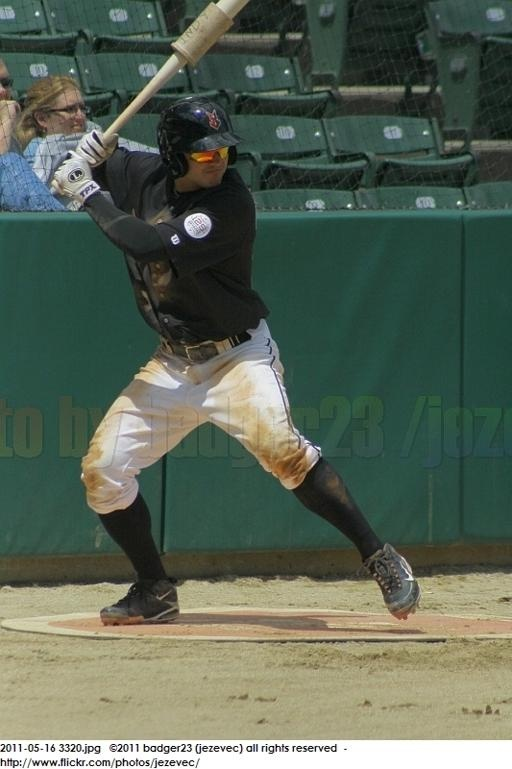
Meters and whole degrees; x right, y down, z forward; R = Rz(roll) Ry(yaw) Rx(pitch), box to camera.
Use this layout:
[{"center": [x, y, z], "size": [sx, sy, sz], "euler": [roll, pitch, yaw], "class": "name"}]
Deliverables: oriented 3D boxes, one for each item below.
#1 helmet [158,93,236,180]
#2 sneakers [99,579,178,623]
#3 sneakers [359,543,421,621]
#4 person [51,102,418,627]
[{"center": [-0.160, -0.733, 2.774], "size": [0.205, 0.210, 0.279], "euler": [-29, 39, -31], "class": "helmet"}, {"center": [-0.416, 0.700, 3.013], "size": [0.302, 0.120, 0.101], "euler": [5, -18, -30], "class": "sneakers"}, {"center": [0.377, 0.570, 2.860], "size": [0.100, 0.149, 0.292], "euler": [-47, 16, 8], "class": "sneakers"}, {"center": [-0.161, -0.036, 2.864], "size": [0.972, 1.592, 0.654], "euler": [-10, 20, 6], "class": "person"}]
